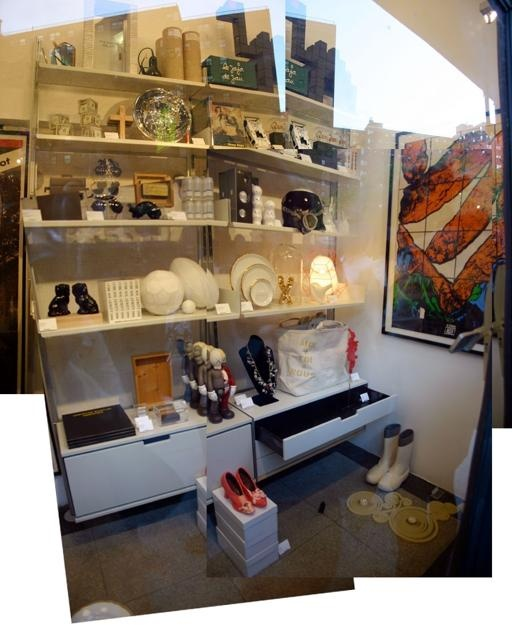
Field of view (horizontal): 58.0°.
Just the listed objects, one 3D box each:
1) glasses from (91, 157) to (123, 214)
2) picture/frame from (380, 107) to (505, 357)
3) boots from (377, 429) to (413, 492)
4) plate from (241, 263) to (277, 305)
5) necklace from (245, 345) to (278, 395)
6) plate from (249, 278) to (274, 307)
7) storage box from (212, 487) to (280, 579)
[{"bbox_3d":[-0.442,-0.382,1.368,0.096,0.161,0.052,-7,14,-10],"label":"glasses"},{"bbox_3d":[0.599,-0.248,1.448,0.451,0.660,0.168,-10,14,-20],"label":"picture/frame"},{"bbox_3d":[0.444,0.470,1.483,0.157,0.145,0.067,-11,19,-43],"label":"boots"},{"bbox_3d":[0.009,-0.098,1.430,0.110,0.120,0.022,-23,18,-24],"label":"plate"},{"bbox_3d":[0.023,0.166,1.399,0.093,0.139,0.033,-10,-2,-18],"label":"necklace"},{"bbox_3d":[0.021,-0.069,1.434,0.078,0.080,0.018,1,5,-35],"label":"plate"},{"bbox_3d":[-0.032,0.668,1.396,0.130,0.220,0.230,-11,17,-31],"label":"storage box"}]
